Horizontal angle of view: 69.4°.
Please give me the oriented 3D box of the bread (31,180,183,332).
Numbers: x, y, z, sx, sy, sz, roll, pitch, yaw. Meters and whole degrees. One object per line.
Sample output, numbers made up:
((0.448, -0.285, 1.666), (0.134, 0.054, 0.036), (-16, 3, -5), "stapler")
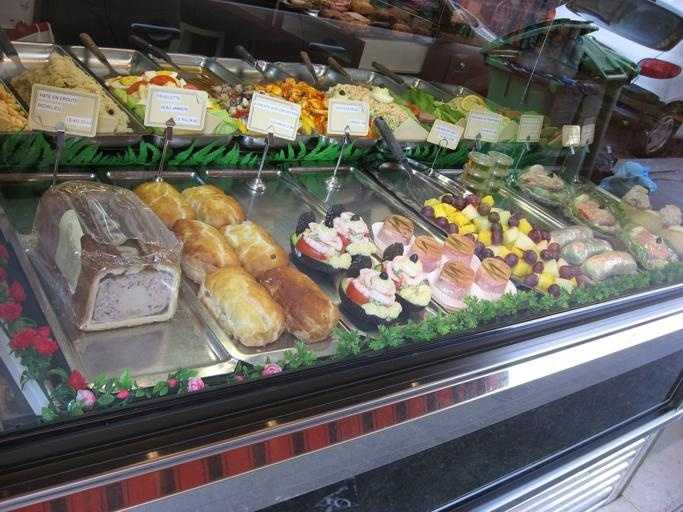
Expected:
((-0.655, -0.044, 1.384), (0.325, 0.235, 0.461), (-6, 42, -43), "bread")

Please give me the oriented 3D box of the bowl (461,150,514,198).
((0.756, -0.447, 2.647), (0.271, 0.167, 0.252), (11, 36, -8), "bowl")

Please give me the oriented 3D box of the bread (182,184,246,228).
((-0.455, -0.189, 1.728), (0.202, 0.058, 0.153), (40, 32, 27), "bread")

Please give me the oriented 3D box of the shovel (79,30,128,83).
((-1.068, -0.905, 2.222), (0.267, 0.023, 0.097), (38, 30, -5), "shovel")

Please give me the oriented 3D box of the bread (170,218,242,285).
((-0.432, -0.047, 1.525), (0.149, 0.094, 0.243), (-10, 44, -41), "bread")

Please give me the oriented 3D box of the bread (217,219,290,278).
((-0.292, -0.040, 1.613), (0.143, 0.074, 0.229), (-14, 45, -45), "bread")

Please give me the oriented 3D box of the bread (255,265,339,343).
((-0.138, 0.119, 1.499), (0.166, 0.111, 0.262), (-12, 45, -43), "bread")

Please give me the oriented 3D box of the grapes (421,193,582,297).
((0.692, -0.080, 2.130), (0.411, 0.142, 0.559), (24, 15, -44), "grapes")

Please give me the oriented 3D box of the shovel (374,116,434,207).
((0.276, -0.515, 2.435), (0.089, 0.123, 0.658), (25, 30, -50), "shovel")

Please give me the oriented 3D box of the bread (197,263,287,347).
((-0.306, 0.143, 1.412), (0.261, 0.094, 0.173), (45, 44, 19), "bread")
